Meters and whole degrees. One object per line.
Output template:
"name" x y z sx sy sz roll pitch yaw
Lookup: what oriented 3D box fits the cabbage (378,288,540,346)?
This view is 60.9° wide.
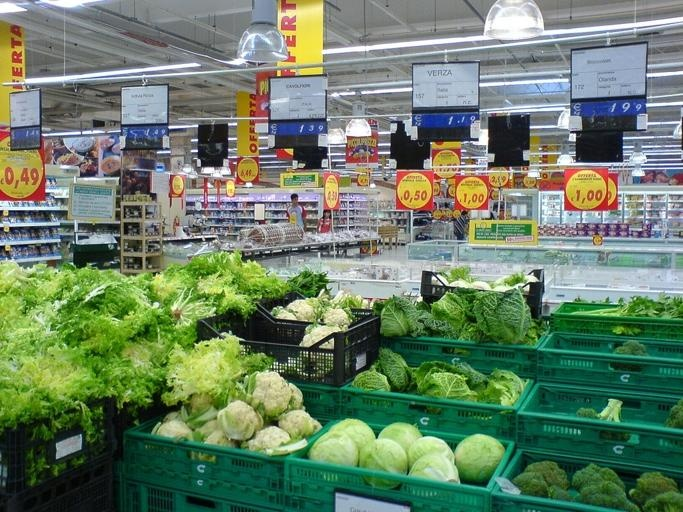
"cabbage" 0.947 0.464 4.393 0.806 0.262 0.587 0 0 27

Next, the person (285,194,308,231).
"person" -1.432 -1.201 18.869 0.621 1.825 0.382 -3 29 0

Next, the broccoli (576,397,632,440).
"broccoli" 1.582 0.965 3.489 0.206 0.248 0.165 11 -15 7

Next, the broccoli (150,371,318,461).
"broccoli" -0.575 0.925 3.347 0.610 0.261 0.528 1 5 26

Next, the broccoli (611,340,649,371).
"broccoli" 2.008 0.673 4.053 0.202 0.250 0.241 -2 -5 34
